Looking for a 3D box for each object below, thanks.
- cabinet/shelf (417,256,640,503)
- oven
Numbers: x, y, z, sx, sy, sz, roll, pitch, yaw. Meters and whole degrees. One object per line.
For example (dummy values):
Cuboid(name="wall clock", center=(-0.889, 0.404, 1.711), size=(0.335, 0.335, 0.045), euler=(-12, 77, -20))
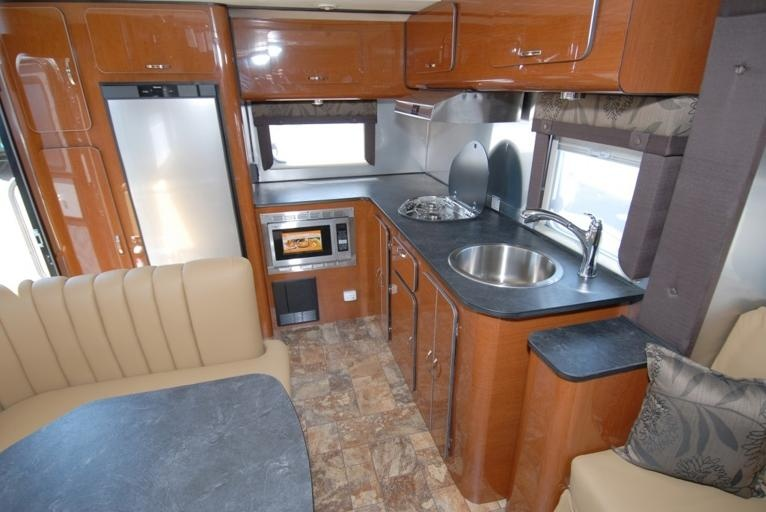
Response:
Cuboid(name="cabinet/shelf", center=(0.866, 0.656, 3.578), size=(1.320, 1.883, 1.455), euler=(-3, 29, -9))
Cuboid(name="oven", center=(-0.576, -0.124, 3.915), size=(0.854, 0.566, 0.474), euler=(-5, 33, -11))
